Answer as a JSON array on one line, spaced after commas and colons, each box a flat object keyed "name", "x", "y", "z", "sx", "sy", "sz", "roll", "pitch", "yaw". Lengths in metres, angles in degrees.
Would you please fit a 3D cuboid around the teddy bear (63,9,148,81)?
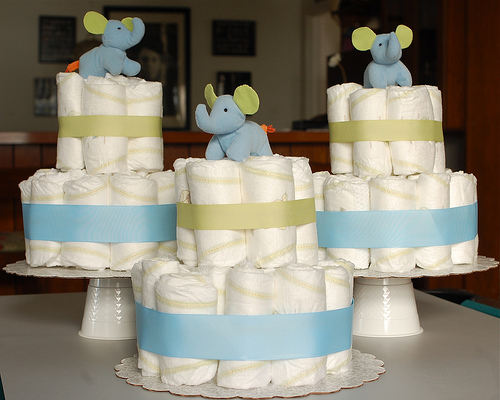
[{"name": "teddy bear", "x": -0.436, "y": -0.455, "z": 2.101, "sx": 0.200, "sy": 0.195, "sz": 0.190, "roll": -6, "pitch": 10, "yaw": -34}]

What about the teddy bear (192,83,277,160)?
[{"name": "teddy bear", "x": -0.040, "y": -0.192, "z": 1.827, "sx": 0.217, "sy": 0.202, "sz": 0.165, "roll": 0, "pitch": -1, "yaw": -45}]
